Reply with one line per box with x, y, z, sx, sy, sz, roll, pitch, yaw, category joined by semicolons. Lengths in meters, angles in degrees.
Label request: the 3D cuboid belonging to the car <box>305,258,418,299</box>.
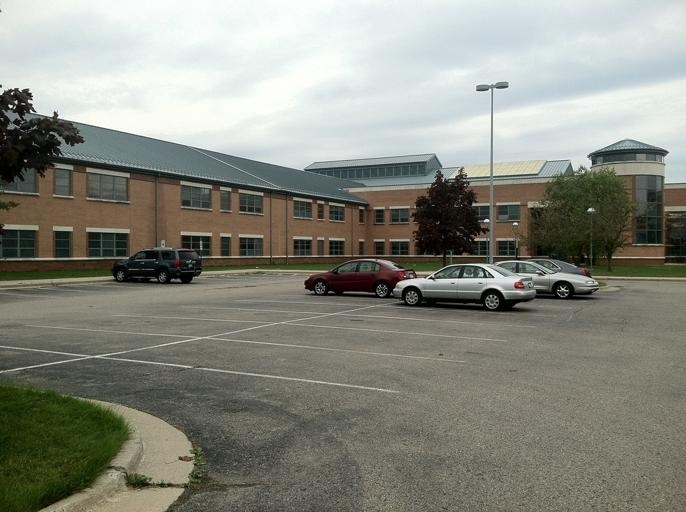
0.853;0.856;24.047;4.122;1.389;1.892;1;-1;26;car

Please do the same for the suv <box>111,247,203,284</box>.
-11.118;0.523;33.333;4.585;1.733;2.290;2;0;17;suv
